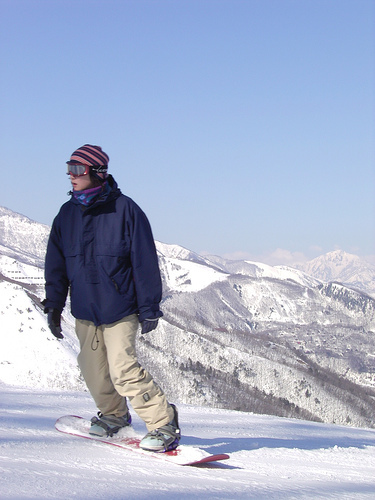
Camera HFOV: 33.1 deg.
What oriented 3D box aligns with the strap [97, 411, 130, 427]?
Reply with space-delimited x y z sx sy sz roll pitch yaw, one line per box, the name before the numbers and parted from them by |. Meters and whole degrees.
strap | -0.562 1.282 4.809 0.089 0.090 0.235 -14 -35 37
